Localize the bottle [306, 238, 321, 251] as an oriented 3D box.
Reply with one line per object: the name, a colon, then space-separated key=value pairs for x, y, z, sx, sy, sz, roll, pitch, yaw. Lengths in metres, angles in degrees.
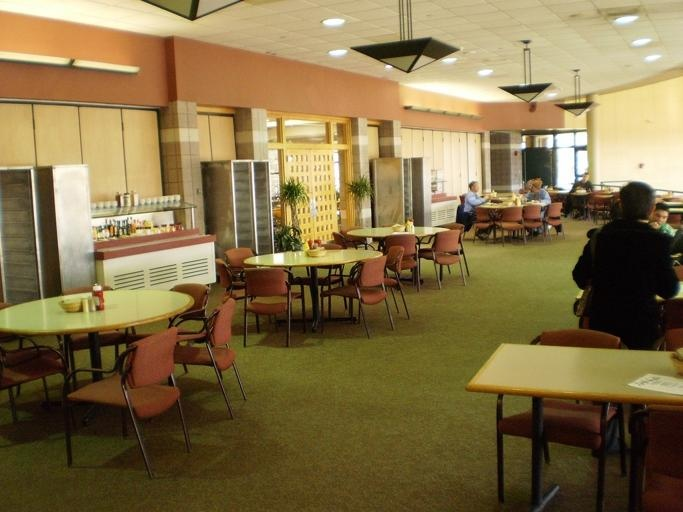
bottle: x=-0.427 y=-0.157 z=7.526 sx=0.259 sy=0.188 sz=0.218 roll=0 pitch=1 yaw=15

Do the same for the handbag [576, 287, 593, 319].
handbag: x=1.771 y=0.336 z=3.833 sx=0.061 sy=0.180 sz=0.197 roll=26 pitch=40 yaw=-9

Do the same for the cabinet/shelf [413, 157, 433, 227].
cabinet/shelf: x=2.307 y=-1.838 z=15.041 sx=0.636 sy=1.917 sz=0.337 roll=-6 pitch=12 yaw=-13

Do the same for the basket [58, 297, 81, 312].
basket: x=-2.280 y=0.407 z=4.411 sx=0.178 sy=0.060 sz=0.158 roll=2 pitch=3 yaw=14

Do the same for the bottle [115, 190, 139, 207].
bottle: x=-3.546 y=-0.937 z=8.686 sx=0.543 sy=0.227 sz=0.341 roll=3 pitch=-1 yaw=-35

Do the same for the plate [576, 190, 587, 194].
plate: x=8.655 y=-2.309 z=19.017 sx=0.310 sy=0.091 sz=0.268 roll=-1 pitch=1 yaw=-6

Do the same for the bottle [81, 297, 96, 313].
bottle: x=-2.111 y=0.410 z=4.388 sx=0.141 sy=0.126 sz=0.104 roll=-3 pitch=9 yaw=-25
